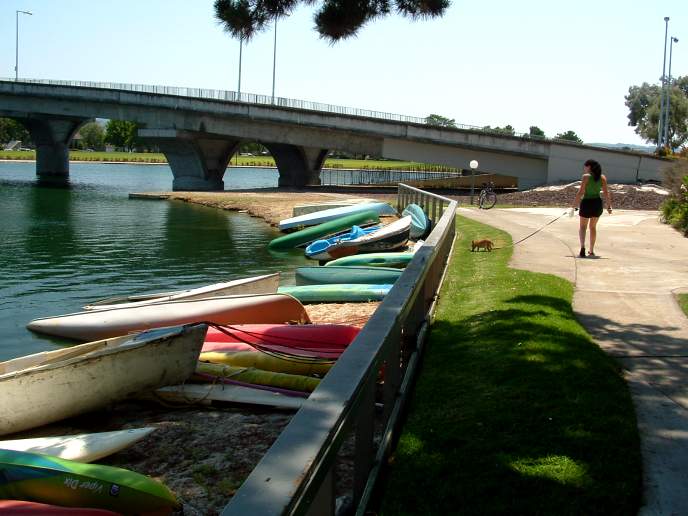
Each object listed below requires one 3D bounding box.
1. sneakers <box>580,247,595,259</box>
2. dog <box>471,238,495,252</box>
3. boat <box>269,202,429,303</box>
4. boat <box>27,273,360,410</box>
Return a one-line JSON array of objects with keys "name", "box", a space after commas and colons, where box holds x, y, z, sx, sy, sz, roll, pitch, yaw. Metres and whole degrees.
[{"name": "sneakers", "box": [5.360, -0.095, 11.575, 0.190, 0.161, 0.487, -2, -3, 15]}, {"name": "dog", "box": [3.649, -0.360, 13.639, 0.605, 0.296, 0.534, 0, 12, 39]}, {"name": "boat", "box": [0.903, 0.138, 14.636, 2.049, 0.971, 6.172, 8, 19, 33]}, {"name": "boat", "box": [-1.927, 1.289, 8.302, 2.522, 0.671, 4.714, -7, 7, -35]}]
